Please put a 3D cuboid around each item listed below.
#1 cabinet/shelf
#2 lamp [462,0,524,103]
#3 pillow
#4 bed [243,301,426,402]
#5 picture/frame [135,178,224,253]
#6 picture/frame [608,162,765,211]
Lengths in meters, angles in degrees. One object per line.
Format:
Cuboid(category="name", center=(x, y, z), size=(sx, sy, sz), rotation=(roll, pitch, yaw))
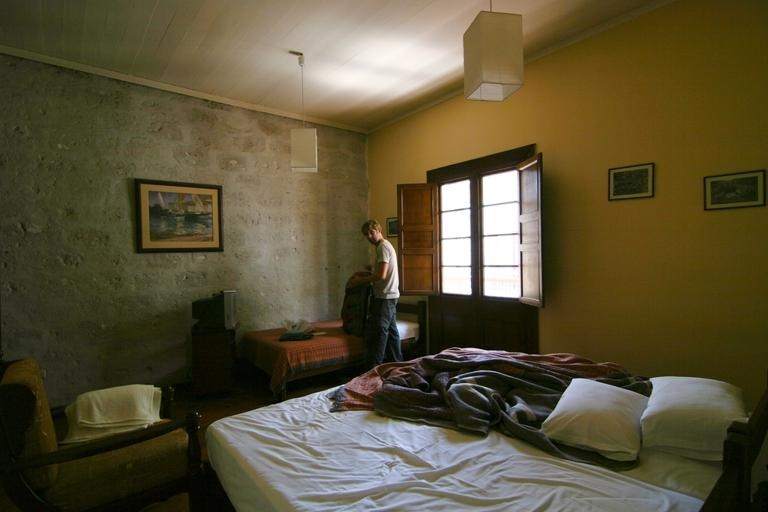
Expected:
Cuboid(category="cabinet/shelf", center=(-2.038, 1.235, 6.399), size=(0.528, 0.753, 0.519), rotation=(-16, -14, 38))
Cuboid(category="lamp", center=(0.926, -1.687, 4.736), size=(0.492, 0.688, 0.282), rotation=(-1, 3, 7))
Cuboid(category="pillow", center=(1.889, 1.191, 4.068), size=(0.930, 0.299, 0.769), rotation=(-5, 11, 31))
Cuboid(category="bed", center=(-0.601, 1.047, 6.560), size=(1.514, 0.612, 1.038), rotation=(-6, 8, -32))
Cuboid(category="picture/frame", center=(-2.499, -0.473, 6.652), size=(0.988, 0.869, 0.069), rotation=(0, -6, -34))
Cuboid(category="picture/frame", center=(2.825, -0.649, 5.259), size=(1.302, 0.476, 0.087), rotation=(1, 3, 33))
